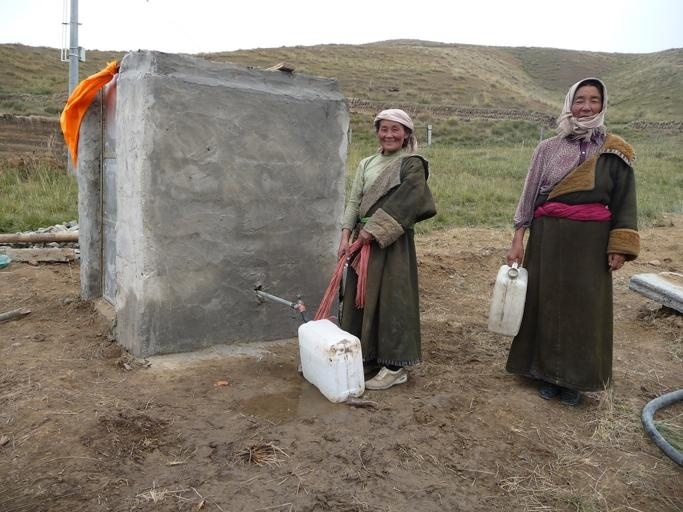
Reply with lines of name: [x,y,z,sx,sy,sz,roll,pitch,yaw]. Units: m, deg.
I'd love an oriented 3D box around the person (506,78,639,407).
person: [1.793,-0.163,4.859,0.881,2.326,0.533,4,13,15]

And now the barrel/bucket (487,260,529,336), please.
barrel/bucket: [1.337,0.369,5.022,0.320,0.469,0.311,4,15,-1]

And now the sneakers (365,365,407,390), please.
sneakers: [0.354,0.986,5.113,0.367,0.173,0.136,-3,5,-26]

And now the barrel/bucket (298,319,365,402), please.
barrel/bucket: [-0.089,0.809,4.967,0.356,0.542,0.645,-12,16,-27]

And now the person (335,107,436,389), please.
person: [0.351,-0.073,5.102,0.711,2.169,0.752,-5,14,-22]
